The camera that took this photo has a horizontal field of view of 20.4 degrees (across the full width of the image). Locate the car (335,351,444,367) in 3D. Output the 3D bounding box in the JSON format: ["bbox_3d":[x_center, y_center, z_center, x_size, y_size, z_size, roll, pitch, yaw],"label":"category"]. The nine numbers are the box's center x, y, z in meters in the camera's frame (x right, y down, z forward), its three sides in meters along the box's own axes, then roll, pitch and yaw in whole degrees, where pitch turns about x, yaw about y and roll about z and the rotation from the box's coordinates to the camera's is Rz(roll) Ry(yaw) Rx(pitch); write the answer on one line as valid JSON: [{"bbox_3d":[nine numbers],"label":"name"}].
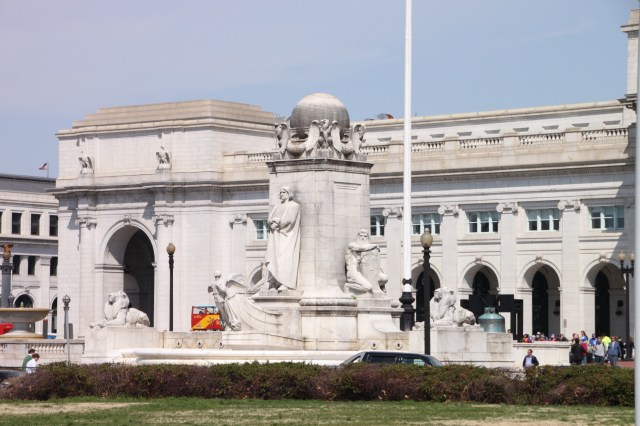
[{"bbox_3d":[3.205,6.204,77.469,4.093,0.796,1.603,-1,-8,2],"label":"car"}]
